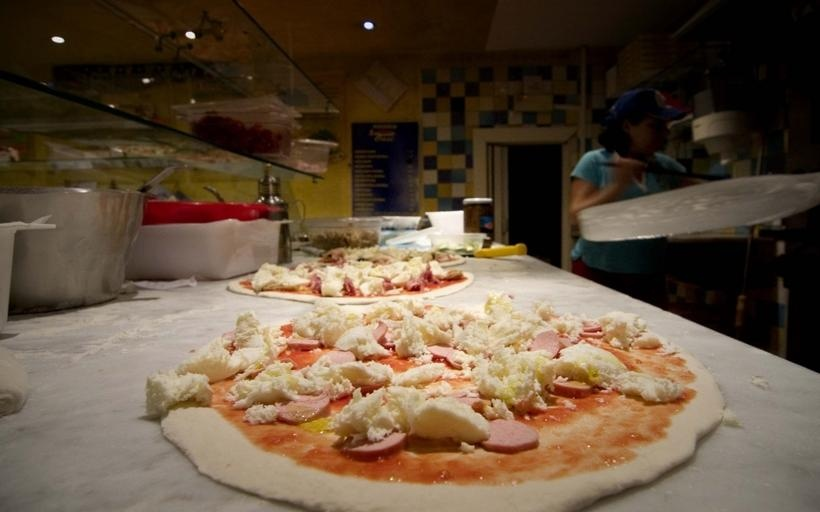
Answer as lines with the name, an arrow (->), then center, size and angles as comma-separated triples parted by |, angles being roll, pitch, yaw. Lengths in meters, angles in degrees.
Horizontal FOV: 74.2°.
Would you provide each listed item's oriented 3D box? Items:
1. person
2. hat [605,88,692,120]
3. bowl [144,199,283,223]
person -> 0.940, -0.206, 2.404 | 0.490, 0.924, 1.285 | 3, 3, 20
hat -> 0.888, -0.554, 2.016 | 0.269, 0.091, 0.162 | 2, 8, 9
bowl -> -0.778, -0.176, 2.273 | 0.277, 0.109, 0.579 | 3, 3, 26
